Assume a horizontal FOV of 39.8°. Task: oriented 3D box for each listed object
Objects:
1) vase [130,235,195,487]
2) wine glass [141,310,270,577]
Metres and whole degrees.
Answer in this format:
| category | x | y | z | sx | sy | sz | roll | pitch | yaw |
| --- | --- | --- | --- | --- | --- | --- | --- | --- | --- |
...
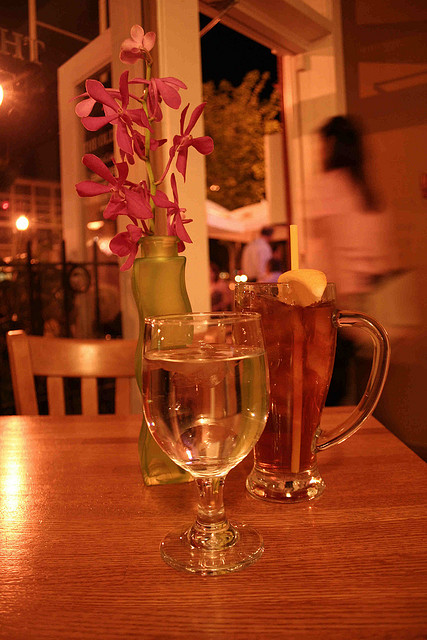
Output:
| category | x | y | z | sx | sy | sz | roll | pitch | yaw |
| --- | --- | --- | --- | --- | --- | --- | --- | --- | --- |
| vase | -0.050 | 0.043 | 0.622 | 0.081 | 0.251 | 0.076 | -1 | -1 | -2 |
| wine glass | -0.007 | 0.088 | 0.499 | 0.102 | 0.190 | 0.155 | -3 | 6 | -14 |
